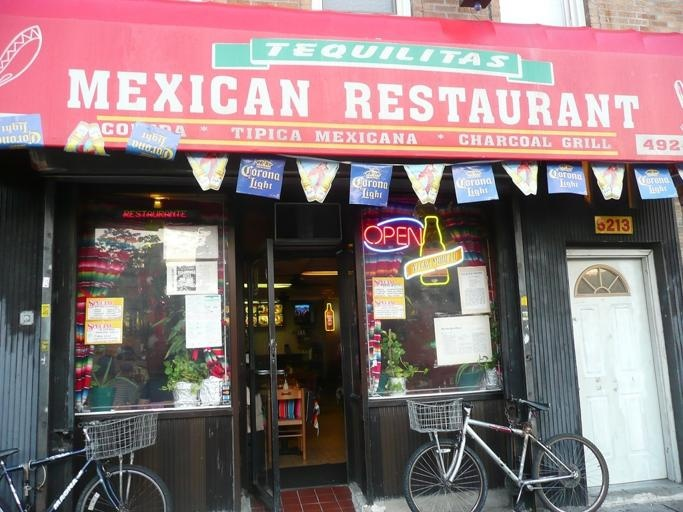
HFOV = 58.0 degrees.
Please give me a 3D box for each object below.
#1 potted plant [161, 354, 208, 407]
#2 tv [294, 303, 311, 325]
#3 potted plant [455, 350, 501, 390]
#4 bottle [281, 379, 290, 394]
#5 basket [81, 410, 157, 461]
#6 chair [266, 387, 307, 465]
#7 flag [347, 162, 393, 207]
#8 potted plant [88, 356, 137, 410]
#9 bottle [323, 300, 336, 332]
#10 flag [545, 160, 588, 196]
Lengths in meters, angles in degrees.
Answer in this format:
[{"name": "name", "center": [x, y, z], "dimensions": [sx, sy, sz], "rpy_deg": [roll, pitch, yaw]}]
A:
[{"name": "potted plant", "center": [-1.569, 1.267, 6.350], "dimensions": [0.484, 0.510, 0.432], "rpy_deg": [2, -13, -10]}, {"name": "tv", "center": [-0.974, 1.402, 14.958], "dimensions": [0.476, 0.592, 0.064], "rpy_deg": [0, -5, -3]}, {"name": "potted plant", "center": [1.490, 1.282, 6.751], "dimensions": [0.435, 0.335, 0.301], "rpy_deg": [0, -13, 6]}, {"name": "bottle", "center": [-0.717, 1.653, 7.837], "dimensions": [0.066, 0.030, 0.290], "rpy_deg": [-11, 21, -3]}, {"name": "basket", "center": [-2.018, 1.577, 5.677], "dimensions": [0.397, 0.320, 0.617], "rpy_deg": [-5, 1, 41]}, {"name": "chair", "center": [-0.685, 2.121, 7.767], "dimensions": [0.578, 0.844, 0.584], "rpy_deg": [8, -19, -35]}, {"name": "flag", "center": [0.264, -0.697, 5.857], "dimensions": [0.365, 0.390, 0.038], "rpy_deg": [6, -8, -12]}, {"name": "potted plant", "center": [-2.281, 1.261, 6.140], "dimensions": [0.467, 0.430, 0.486], "rpy_deg": [-3, -12, 11]}, {"name": "bottle", "center": [-0.286, 1.466, 14.919], "dimensions": [0.269, 0.709, 0.346], "rpy_deg": [-1, -10, -6]}, {"name": "flag", "center": [2.228, -0.792, 6.102], "dimensions": [0.327, 0.304, 0.017], "rpy_deg": [3, -18, -7]}]
